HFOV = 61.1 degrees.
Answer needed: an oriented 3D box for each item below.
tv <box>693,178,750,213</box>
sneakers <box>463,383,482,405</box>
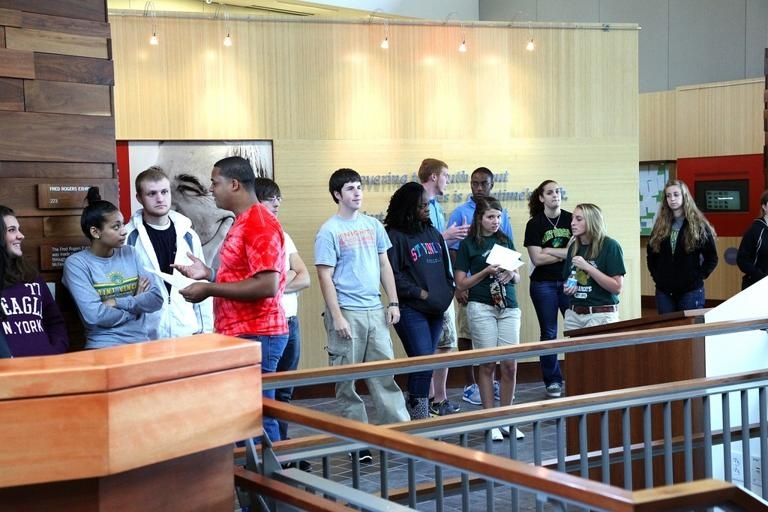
[{"bbox_3d":[5.423,-0.967,10.373,0.785,0.524,0.085,6,11,39],"label":"tv"},{"bbox_3d":[0.910,1.419,6.724,0.128,0.125,0.286,2,-2,-34],"label":"sneakers"}]
